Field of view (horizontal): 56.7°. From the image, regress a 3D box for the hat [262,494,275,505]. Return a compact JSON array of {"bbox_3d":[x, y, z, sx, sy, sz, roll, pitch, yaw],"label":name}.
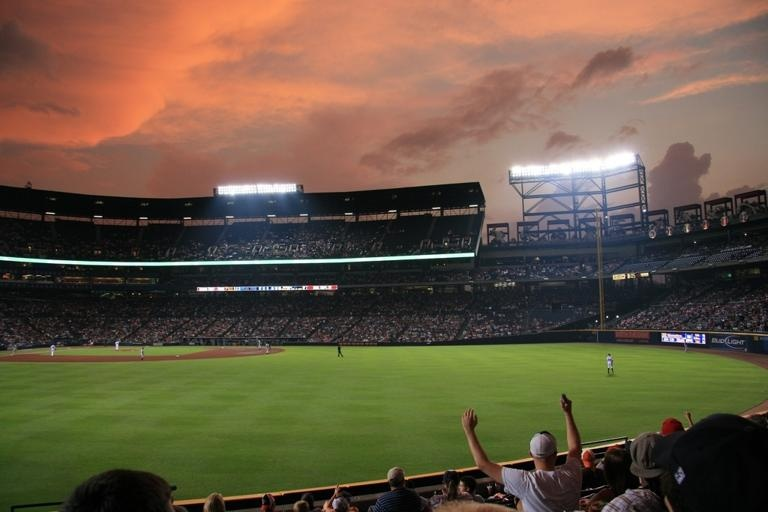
[{"bbox_3d":[-8.439,17.720,51.938,1.103,0.771,0.708,7,-12,-5],"label":"hat"}]
